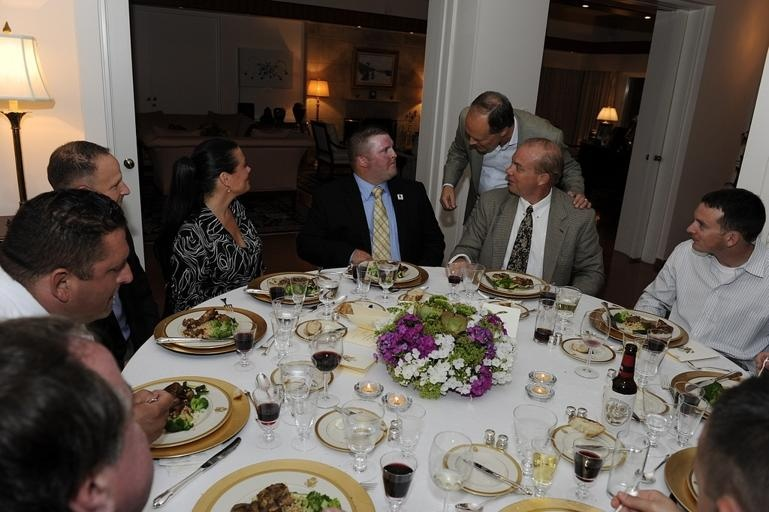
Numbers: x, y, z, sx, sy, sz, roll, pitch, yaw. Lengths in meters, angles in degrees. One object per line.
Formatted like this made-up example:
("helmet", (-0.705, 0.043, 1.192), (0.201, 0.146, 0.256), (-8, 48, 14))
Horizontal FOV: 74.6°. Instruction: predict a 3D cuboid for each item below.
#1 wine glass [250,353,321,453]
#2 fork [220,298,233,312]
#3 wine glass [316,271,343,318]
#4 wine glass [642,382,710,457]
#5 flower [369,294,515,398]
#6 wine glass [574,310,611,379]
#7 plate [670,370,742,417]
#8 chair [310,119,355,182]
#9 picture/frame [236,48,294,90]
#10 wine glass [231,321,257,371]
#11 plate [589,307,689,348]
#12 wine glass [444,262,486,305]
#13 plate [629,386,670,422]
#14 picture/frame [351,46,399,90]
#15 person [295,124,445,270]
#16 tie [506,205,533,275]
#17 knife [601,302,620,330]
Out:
("wine glass", (-0.347, 0.522, 1.806), (0.168, 0.123, 0.327), (2, 18, -5))
("fork", (-0.778, 0.246, 2.512), (0.042, 0.019, 0.131), (-13, 22, -24))
("wine glass", (-0.299, 0.214, 2.614), (0.135, 0.223, 0.136), (8, 13, 17))
("wine glass", (1.064, 0.599, 1.882), (0.244, 0.184, 0.257), (-1, 14, 7))
("flower", (0.291, 0.374, 2.065), (0.494, 0.310, 0.459), (-16, 6, -37))
("wine glass", (0.901, 0.431, 2.233), (0.155, 0.281, 0.177), (3, 10, 4))
("plate", (1.100, 0.486, 1.741), (0.220, 0.051, 0.232), (-8, 21, 2))
("chair", (-0.826, -2.023, 10.055), (1.092, 1.029, 1.120), (-4, 19, -26))
("picture/frame", (-2.681, -4.162, 11.115), (0.917, 0.712, 0.097), (-3, 13, -26))
("wine glass", (-0.568, 0.381, 2.057), (0.103, 0.171, 0.107), (-9, -15, 5))
("plate", (1.218, 0.351, 2.482), (0.265, 0.046, 0.264), (-7, 25, -41))
("wine glass", (0.435, 0.146, 2.722), (0.198, 0.225, 0.202), (-1, 7, -3))
("plate", (1.032, 0.587, 1.953), (0.110, 0.030, 0.135), (-1, 28, -8))
("picture/frame", (-0.262, -4.491, 11.910), (0.984, 0.798, 0.074), (-4, 20, -22))
("person", (-0.045, -0.415, 3.612), (1.009, 0.952, 0.431), (1, 24, -5))
("tie", (0.956, -0.058, 3.503), (0.140, 0.646, 0.068), (11, 54, 17))
("knife", (1.124, 0.306, 2.553), (0.034, 0.074, 0.244), (-17, 17, 17))
